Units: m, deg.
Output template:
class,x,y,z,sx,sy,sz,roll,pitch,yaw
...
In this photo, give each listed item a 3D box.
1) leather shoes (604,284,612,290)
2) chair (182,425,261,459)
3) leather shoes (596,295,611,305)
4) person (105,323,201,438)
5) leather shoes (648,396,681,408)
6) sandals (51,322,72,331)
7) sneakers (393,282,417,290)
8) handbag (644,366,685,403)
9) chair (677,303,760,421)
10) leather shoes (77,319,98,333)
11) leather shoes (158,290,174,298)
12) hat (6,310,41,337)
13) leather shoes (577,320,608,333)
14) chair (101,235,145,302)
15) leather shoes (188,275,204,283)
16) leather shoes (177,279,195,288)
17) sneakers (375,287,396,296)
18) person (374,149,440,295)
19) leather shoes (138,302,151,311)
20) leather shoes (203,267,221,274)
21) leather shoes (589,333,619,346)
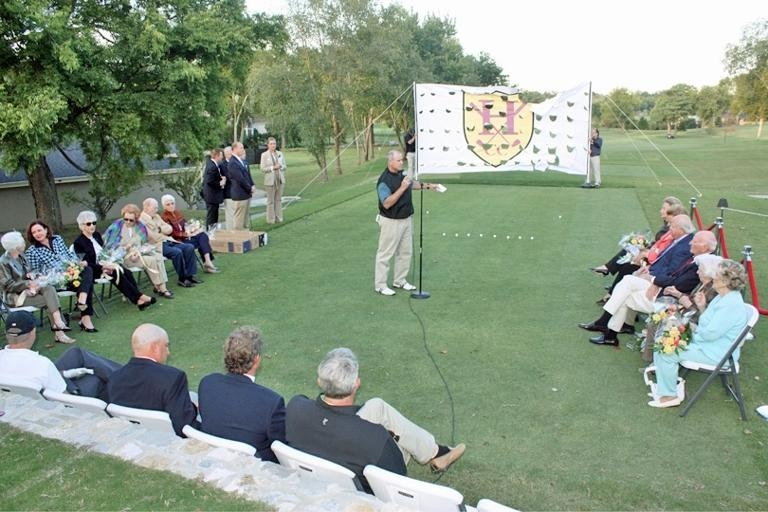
class,x,y,z,sx,sy,sz,roll,pitch,yaw
leather shoes,3.974,0.541,10.314,0.064,0.076,0.177,-2,9,9
chair,-1.722,1.914,6.382,0.420,0.449,0.707,10,-26,6
leather shoes,3.708,0.741,9.873,0.089,0.103,0.259,-8,1,-27
person,-2.743,1.516,6.971,0.802,1.661,0.973,7,21,10
leather shoes,3.568,1.861,7.456,0.364,0.107,0.154,2,8,11
sandals,-4.938,1.080,8.956,0.257,0.094,0.134,2,4,-6
sneakers,0.386,0.552,10.771,0.397,0.168,0.156,1,8,11
handbag,3.700,1.669,7.757,0.541,0.501,0.352,1,9,26
chair,4.280,1.281,7.491,0.757,1.309,1.112,5,14,32
leather shoes,-4.642,1.108,9.269,0.375,0.187,0.126,5,7,9
leather shoes,-3.872,0.657,10.432,0.210,0.084,0.117,4,10,14
hat,-4.434,0.790,7.212,0.255,0.215,0.377,1,19,-9
leather shoes,3.261,1.085,9.115,0.423,0.155,0.152,3,5,28
chair,-4.537,0.252,10.018,0.716,1.239,0.832,-12,15,-38
leather shoes,-3.552,0.429,11.089,0.299,0.125,0.102,5,13,1
leather shoes,-3.691,0.505,10.926,0.283,0.133,0.139,4,14,3
sneakers,0.031,0.621,10.516,0.282,0.103,0.164,2,9,26
person,0.272,-0.658,10.671,0.982,2.540,1.134,-2,12,4
leather shoes,-4.082,0.842,9.980,0.214,0.090,0.078,-19,28,-25
leather shoes,-3.392,0.274,11.575,0.296,0.124,0.100,-5,6,6
leather shoes,3.290,1.222,8.777,0.446,0.183,0.174,4,3,9
